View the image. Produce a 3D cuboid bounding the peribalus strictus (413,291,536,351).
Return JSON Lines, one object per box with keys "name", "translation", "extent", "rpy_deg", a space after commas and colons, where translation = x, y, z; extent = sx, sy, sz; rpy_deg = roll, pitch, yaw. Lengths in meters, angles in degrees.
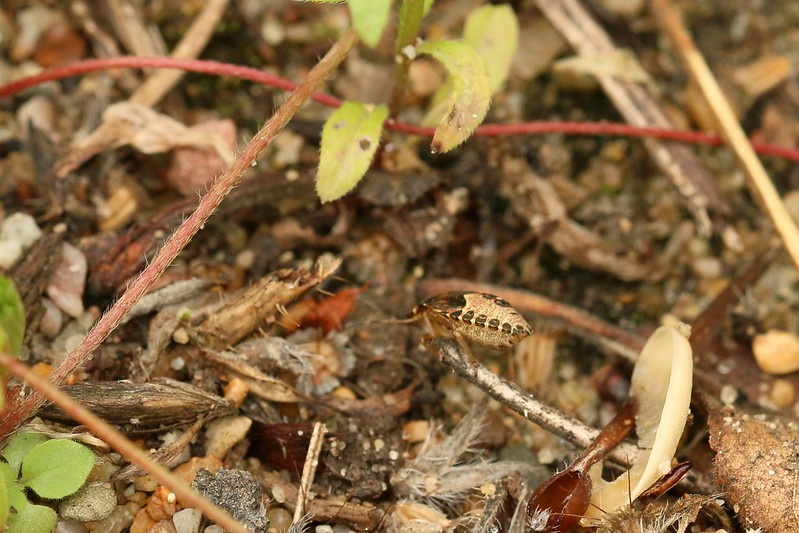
{"name": "peribalus strictus", "translation": [0.211, 0.144, 2.374], "extent": [0.386, 0.152, 0.253], "rpy_deg": [13, 12, 35]}
